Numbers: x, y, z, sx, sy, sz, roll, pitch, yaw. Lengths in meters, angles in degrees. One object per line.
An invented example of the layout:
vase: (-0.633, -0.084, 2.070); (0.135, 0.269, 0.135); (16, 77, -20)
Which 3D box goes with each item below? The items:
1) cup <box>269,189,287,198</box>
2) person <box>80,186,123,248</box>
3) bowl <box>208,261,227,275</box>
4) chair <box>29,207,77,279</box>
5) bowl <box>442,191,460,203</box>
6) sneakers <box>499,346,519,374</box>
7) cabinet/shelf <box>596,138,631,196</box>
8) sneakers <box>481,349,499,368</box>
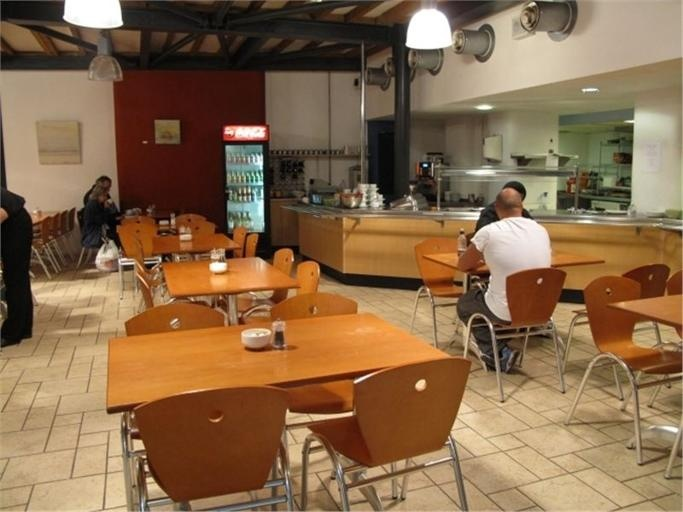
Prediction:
cup: (-1.268, -1.272, 10.736); (0.332, 0.173, 0.142); (-3, 11, -4)
person: (-4.316, -0.623, 9.532); (0.740, 1.257, 0.465); (-3, 23, -30)
bowl: (-1.071, 0.096, 4.618); (0.119, 0.072, 0.121); (1, 6, 0)
chair: (-5.032, -0.249, 9.200); (0.450, 0.929, 1.149); (4, 10, -11)
bowl: (1.752, -0.940, 8.432); (0.313, 0.195, 0.239); (-7, 12, -33)
sneakers: (1.523, 0.920, 4.823); (0.134, 0.163, 0.379); (1, 9, 5)
cabinet/shelf: (4.794, -1.562, 9.295); (0.431, 1.250, 1.327); (3, 10, 25)
sneakers: (1.327, 0.944, 4.792); (0.081, 0.097, 0.226); (-3, 28, -7)
